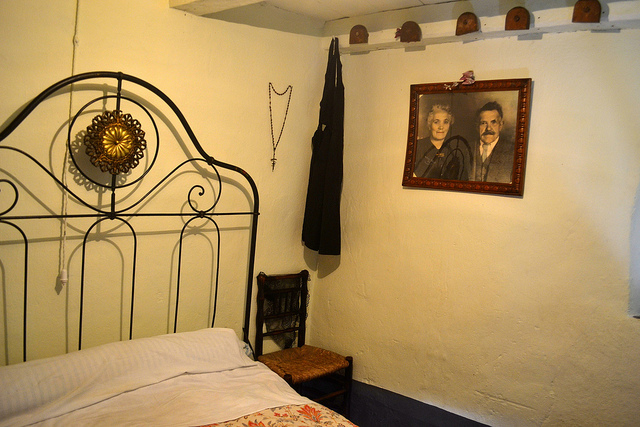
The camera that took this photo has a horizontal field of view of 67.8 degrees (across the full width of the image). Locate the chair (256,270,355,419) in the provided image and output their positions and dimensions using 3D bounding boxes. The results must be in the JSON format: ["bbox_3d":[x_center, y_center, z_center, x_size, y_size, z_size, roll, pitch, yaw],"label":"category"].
[{"bbox_3d":[-0.162,1.051,3.542,0.658,1.114,0.639,6,4,41],"label":"chair"}]

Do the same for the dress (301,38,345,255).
[{"bbox_3d":[0.029,-0.530,3.730,0.305,1.680,0.192,1,3,-6],"label":"dress"}]
